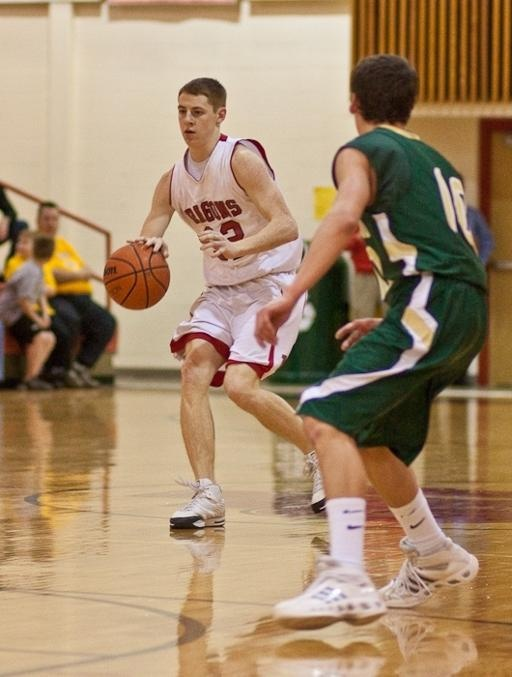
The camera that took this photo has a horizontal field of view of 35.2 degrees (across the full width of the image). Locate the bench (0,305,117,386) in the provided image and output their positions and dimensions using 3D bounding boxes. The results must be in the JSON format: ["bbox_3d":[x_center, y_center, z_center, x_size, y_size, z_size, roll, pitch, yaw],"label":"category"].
[{"bbox_3d":[-2.092,0.212,8.635,1.319,0.668,0.644,-1,-14,0],"label":"bench"}]

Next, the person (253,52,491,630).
[{"bbox_3d":[0.203,0.052,1.432,0.327,0.792,0.504,2,-1,22],"label":"person"}]

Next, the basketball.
[{"bbox_3d":[-0.410,-0.180,2.713,0.217,0.198,0.189,-10,29,-11],"label":"basketball"}]

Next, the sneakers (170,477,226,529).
[{"bbox_3d":[-0.167,0.500,2.409,0.160,0.126,0.192,2,-1,-1],"label":"sneakers"}]
